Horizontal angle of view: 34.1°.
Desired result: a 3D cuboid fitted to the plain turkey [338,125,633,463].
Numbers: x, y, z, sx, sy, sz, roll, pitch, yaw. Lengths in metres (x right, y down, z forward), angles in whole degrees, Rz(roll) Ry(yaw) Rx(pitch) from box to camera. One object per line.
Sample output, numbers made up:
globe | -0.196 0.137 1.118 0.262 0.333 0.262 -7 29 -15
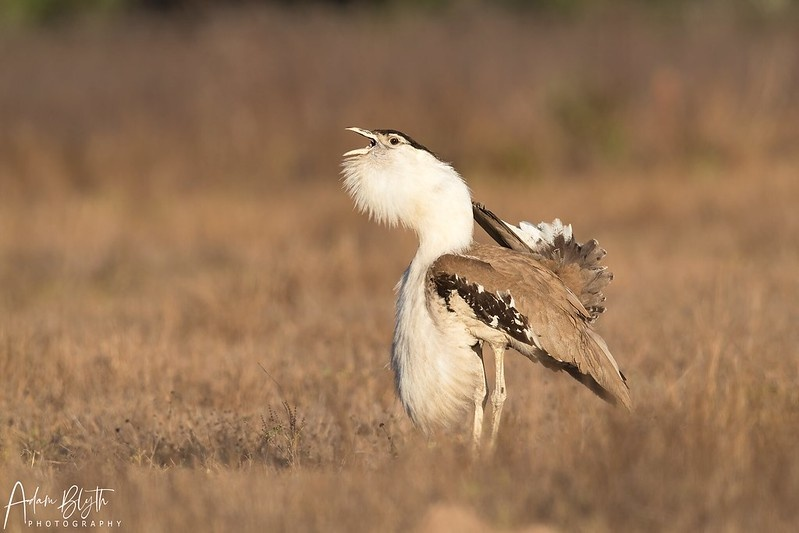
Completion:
plain turkey | 1.083 0.272 17.941 3.474 4.323 1.020 0 -16 -6
